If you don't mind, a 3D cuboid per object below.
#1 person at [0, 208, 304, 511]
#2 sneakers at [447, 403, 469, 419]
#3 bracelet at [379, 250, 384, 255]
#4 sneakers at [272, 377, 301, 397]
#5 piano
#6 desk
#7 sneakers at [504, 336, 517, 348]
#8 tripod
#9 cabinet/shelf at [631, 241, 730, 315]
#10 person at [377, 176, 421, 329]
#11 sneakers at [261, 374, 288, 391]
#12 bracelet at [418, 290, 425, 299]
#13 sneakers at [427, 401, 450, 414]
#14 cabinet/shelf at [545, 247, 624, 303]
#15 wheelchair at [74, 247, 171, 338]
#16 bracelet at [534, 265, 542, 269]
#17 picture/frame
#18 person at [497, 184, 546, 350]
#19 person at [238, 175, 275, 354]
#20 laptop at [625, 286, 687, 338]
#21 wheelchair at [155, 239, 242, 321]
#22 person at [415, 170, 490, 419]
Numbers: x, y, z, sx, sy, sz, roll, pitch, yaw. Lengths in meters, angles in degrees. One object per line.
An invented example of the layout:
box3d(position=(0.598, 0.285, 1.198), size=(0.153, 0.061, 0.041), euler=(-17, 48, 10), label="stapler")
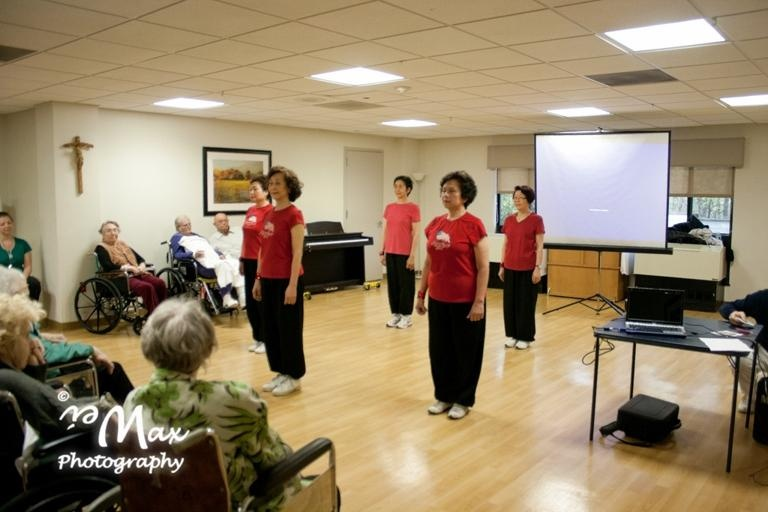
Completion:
box3d(position=(-0.978, 0.551, 2.434), size=(1.007, 1.046, 0.649), euler=(-16, -9, 23), label="person")
box3d(position=(0.618, 1.301, 4.373), size=(0.082, 0.091, 0.233), euler=(-7, -13, 37), label="sneakers")
box3d(position=(-0.028, -0.040, 6.875), size=(0.048, 0.050, 0.032), euler=(15, 44, -21), label="bracelet")
box3d(position=(-0.890, 1.200, 4.812), size=(0.109, 0.095, 0.252), euler=(0, 0, 34), label="sneakers")
box3d(position=(-0.988, 0.009, 9.092), size=(0.727, 1.158, 1.408), euler=(4, 6, 41), label="piano")
box3d(position=(2.278, 0.778, 4.096), size=(1.126, 0.894, 1.229), euler=(4, 9, 35), label="desk")
box3d(position=(1.508, 1.023, 6.219), size=(0.100, 0.098, 0.238), euler=(-2, -9, 25), label="sneakers")
box3d(position=(3.326, 0.488, 8.607), size=(0.937, 0.814, 0.338), euler=(-1, -3, 33), label="tripod")
box3d(position=(4.957, 0.365, 8.621), size=(0.796, 0.947, 1.351), euler=(4, 0, -40), label="cabinet/shelf")
box3d(position=(0.205, -0.036, 6.793), size=(0.471, 1.975, 0.548), euler=(0, 9, 0), label="person")
box3d(position=(-0.993, 1.162, 4.874), size=(0.294, 0.105, 0.106), euler=(-6, 2, -33), label="sneakers")
box3d(position=(0.312, 0.330, 4.450), size=(0.080, 0.060, 0.066), euler=(2, 5, 34), label="bracelet")
box3d(position=(0.470, 1.306, 4.515), size=(0.218, 0.089, 0.083), euler=(7, -10, -36), label="sneakers")
box3d(position=(3.398, 0.315, 8.715), size=(0.902, 0.748, 0.353), euler=(0, -1, 33), label="cabinet/shelf")
box3d(position=(-3.383, 0.405, 6.864), size=(1.013, 1.033, 0.868), euler=(5, 10, -1), label="wheelchair")
box3d(position=(1.735, 0.119, 5.891), size=(0.066, 0.051, 0.088), euler=(1, 3, 11), label="bracelet")
box3d(position=(-2.218, -1.081, 7.625), size=(1.340, 1.246, 0.093), euler=(-9, 15, -41), label="picture/frame")
box3d(position=(1.588, 0.144, 6.061), size=(0.465, 1.884, 0.486), euler=(3, 10, 14), label="person")
box3d(position=(-1.402, 0.145, 5.662), size=(0.508, 1.915, 0.530), euler=(-1, 22, -8), label="person")
box3d(position=(2.064, 0.419, 3.975), size=(0.396, 0.317, 0.321), euler=(2, 5, 26), label="laptop")
box3d(position=(-2.466, 0.193, 7.256), size=(1.256, 1.100, 0.898), euler=(7, 21, 41), label="wheelchair")
box3d(position=(0.570, 0.342, 4.286), size=(0.528, 2.022, 0.307), euler=(3, 10, 13), label="person")
